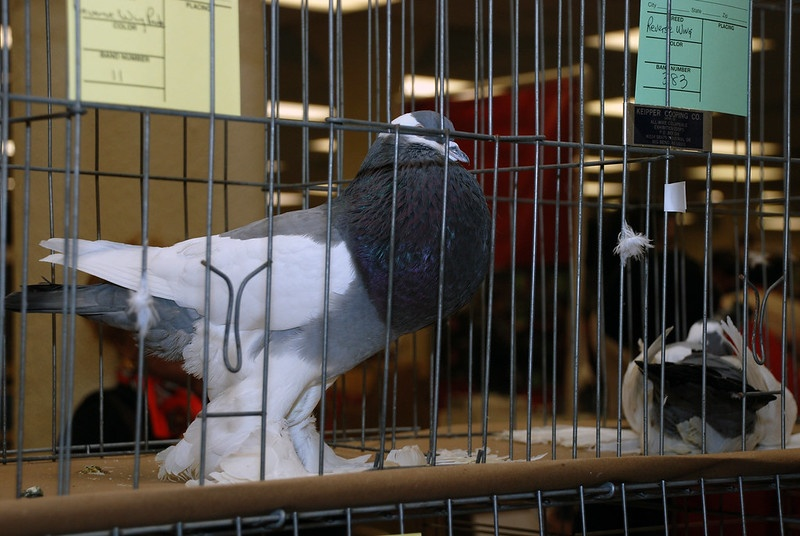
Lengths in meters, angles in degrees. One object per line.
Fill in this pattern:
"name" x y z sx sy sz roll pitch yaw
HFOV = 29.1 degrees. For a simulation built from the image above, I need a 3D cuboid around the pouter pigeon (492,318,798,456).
"pouter pigeon" 0.618 0.304 3.465 0.367 0.201 0.477 4 -8 -41
